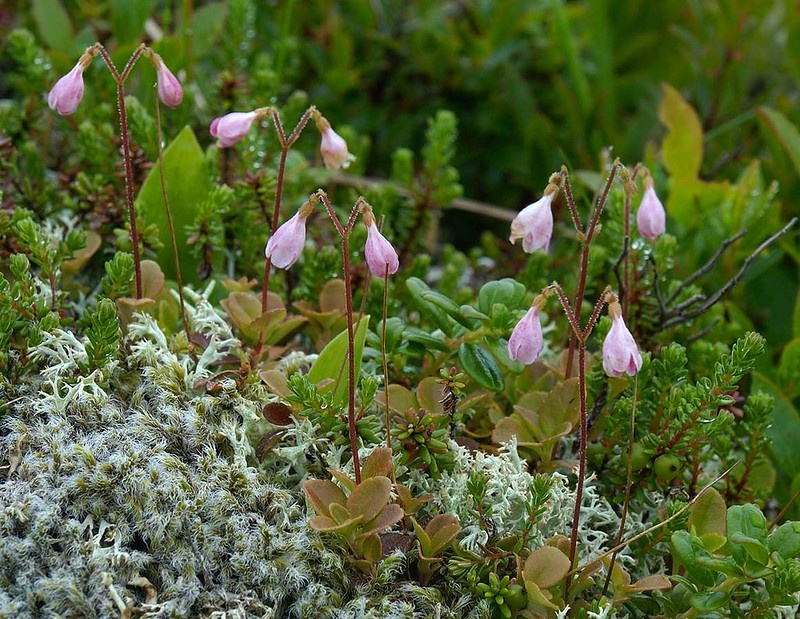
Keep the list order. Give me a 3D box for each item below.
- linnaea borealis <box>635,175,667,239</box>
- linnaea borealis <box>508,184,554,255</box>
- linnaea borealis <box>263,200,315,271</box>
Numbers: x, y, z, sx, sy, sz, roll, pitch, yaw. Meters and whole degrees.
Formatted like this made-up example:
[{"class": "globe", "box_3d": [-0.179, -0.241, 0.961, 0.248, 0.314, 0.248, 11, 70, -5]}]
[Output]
[{"class": "linnaea borealis", "box_3d": [0.543, -0.219, 2.057, 0.049, 0.056, 0.158, -1, 80, -3]}, {"class": "linnaea borealis", "box_3d": [0.281, -0.207, 1.995, 0.065, 0.188, 0.075, 11, 21, 2]}, {"class": "linnaea borealis", "box_3d": [-0.269, -0.174, 2.263, 0.081, 0.219, 0.087, 18, 20, -22]}]
